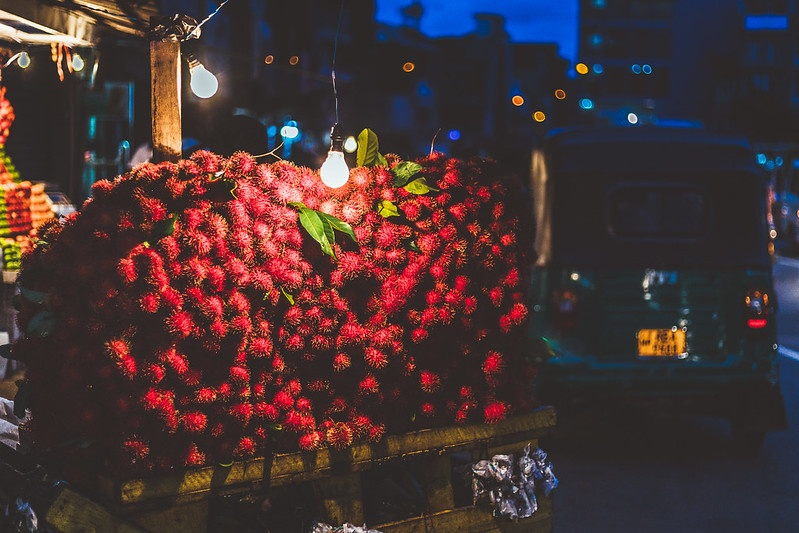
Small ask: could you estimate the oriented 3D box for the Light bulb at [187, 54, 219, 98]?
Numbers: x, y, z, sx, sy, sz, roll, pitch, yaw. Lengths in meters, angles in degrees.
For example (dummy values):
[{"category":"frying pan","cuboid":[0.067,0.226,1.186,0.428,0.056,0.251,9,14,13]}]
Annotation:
[{"category":"Light bulb","cuboid":[-1.713,-1.619,7.190,0.239,0.334,0.486,2,13,-15]}]
